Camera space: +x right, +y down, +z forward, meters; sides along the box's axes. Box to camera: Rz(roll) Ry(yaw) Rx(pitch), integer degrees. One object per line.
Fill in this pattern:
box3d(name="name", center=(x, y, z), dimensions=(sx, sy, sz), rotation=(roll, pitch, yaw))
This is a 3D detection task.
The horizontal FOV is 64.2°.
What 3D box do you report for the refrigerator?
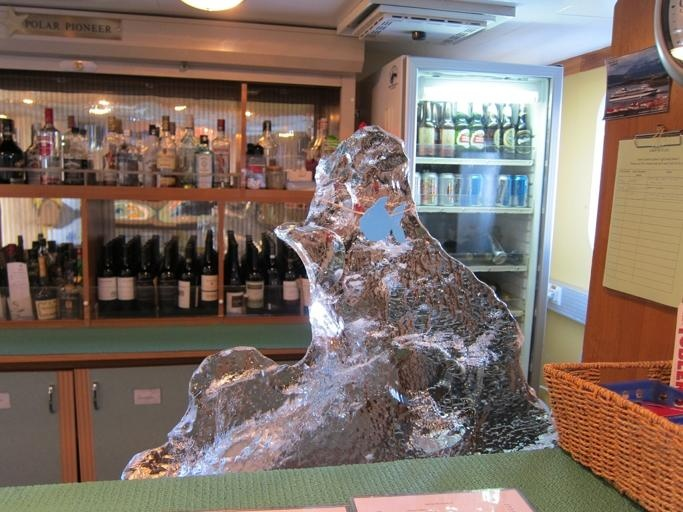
box3d(name="refrigerator", center=(0.734, -0.169, 3.190), dimensions=(0.957, 1.853, 0.516), rotation=(0, 14, 1))
